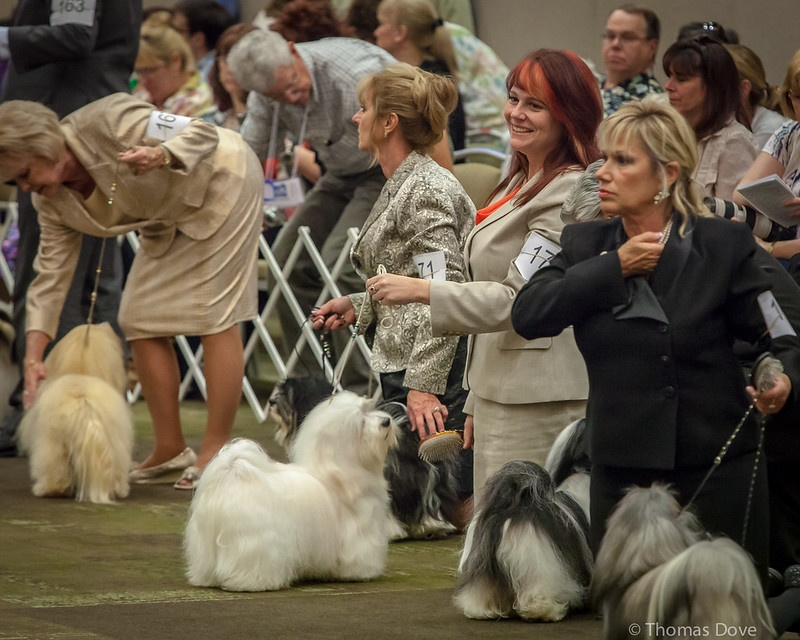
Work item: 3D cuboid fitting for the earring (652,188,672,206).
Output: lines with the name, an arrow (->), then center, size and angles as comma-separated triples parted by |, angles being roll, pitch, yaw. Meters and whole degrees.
earring -> 0.711, -0.337, 3.051 | 0.018, 0.025, 0.083 | 36, -36, -1

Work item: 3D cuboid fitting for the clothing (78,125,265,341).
clothing -> -1.052, -0.365, 5.384 | 0.900, 1.315, 1.018 | -1, 2, -18

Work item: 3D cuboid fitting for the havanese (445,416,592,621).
havanese -> 0.417, 0.587, 3.549 | 0.419, 0.600, 0.663 | 1, -3, 30

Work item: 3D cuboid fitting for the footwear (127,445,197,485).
footwear -> -1.072, 0.661, 5.123 | 0.390, 0.135, 0.122 | 1, -3, -21

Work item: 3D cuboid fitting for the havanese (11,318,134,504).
havanese -> -1.324, 0.386, 4.785 | 0.488, 0.540, 0.757 | 1, 28, -7

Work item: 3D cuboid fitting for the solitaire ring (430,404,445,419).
solitaire ring -> 0.134, 0.338, 4.139 | 0.058, 0.027, 0.073 | 3, 3, 6

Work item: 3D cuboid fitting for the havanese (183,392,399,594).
havanese -> -0.342, 0.594, 3.952 | 0.828, 0.670, 0.517 | -1, 1, -32
